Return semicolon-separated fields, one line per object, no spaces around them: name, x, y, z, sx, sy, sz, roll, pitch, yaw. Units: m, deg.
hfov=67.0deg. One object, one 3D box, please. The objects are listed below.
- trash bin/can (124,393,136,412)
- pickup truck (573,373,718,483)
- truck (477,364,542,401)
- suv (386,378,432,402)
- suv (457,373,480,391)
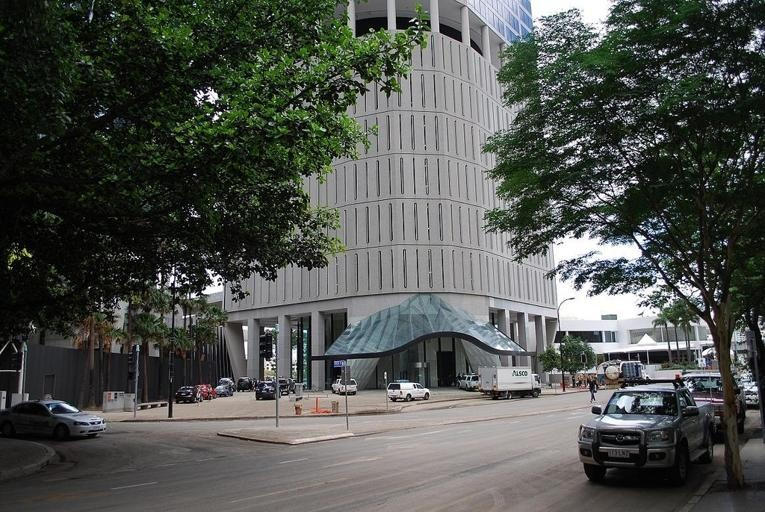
trash bin/can;-20.963;12.095;47.705;0.701;1.357;0.974;5;-14;-35
pickup truck;7.254;4.802;15.764;4.353;2.449;2.023;8;-15;-40
truck;12.278;11.929;55.342;5.621;3.087;2.815;1;-5;-26
suv;2.342;12.537;53.695;3.587;1.439;1.765;1;-4;-40
suv;10.010;14.662;67.314;1.429;1.266;3.129;2;-2;-10
